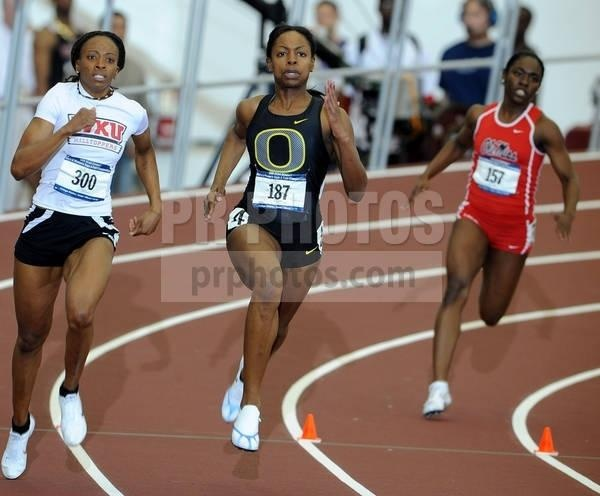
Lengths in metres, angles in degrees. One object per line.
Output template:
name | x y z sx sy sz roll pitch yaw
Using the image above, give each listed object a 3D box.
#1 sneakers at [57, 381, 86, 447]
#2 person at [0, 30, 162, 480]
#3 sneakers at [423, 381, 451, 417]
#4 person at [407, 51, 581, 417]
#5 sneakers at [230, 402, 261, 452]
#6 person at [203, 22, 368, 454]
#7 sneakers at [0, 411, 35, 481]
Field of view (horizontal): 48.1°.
sneakers | -1.038 0.756 3.093 0.100 0.302 0.119 -7 -7 -17
person | -1.044 0.001 3.121 0.667 1.967 0.851 0 14 4
sneakers | 0.700 0.788 3.368 0.115 0.057 0.191 -12 43 26
person | 1.066 -0.206 3.840 0.899 1.779 0.952 -3 14 -10
sneakers | -0.237 0.789 2.921 0.109 0.188 0.158 -1 14 0
person | -0.209 -0.161 3.151 0.617 1.720 0.897 4 15 18
sneakers | -1.268 0.901 3.037 0.092 0.295 0.115 4 -21 -6
